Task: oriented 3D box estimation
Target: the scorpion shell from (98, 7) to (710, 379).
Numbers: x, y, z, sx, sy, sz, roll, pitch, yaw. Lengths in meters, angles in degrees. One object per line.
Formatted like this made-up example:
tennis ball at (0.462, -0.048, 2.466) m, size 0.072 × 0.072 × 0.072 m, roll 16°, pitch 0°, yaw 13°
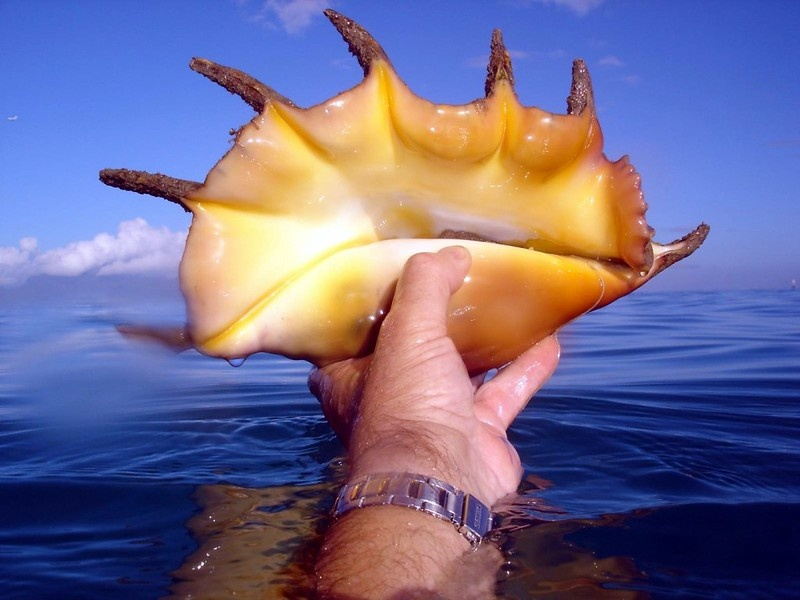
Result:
scorpion shell at (0.013, -0.366, 2.627) m, size 2.413 × 1.048 × 0.749 m, roll -5°, pitch -10°, yaw -14°
